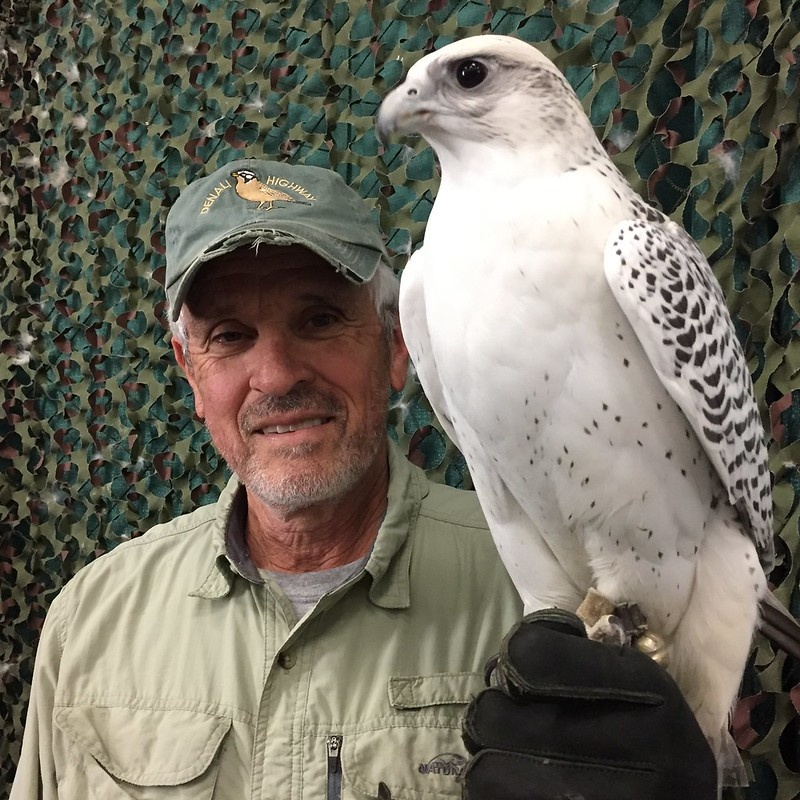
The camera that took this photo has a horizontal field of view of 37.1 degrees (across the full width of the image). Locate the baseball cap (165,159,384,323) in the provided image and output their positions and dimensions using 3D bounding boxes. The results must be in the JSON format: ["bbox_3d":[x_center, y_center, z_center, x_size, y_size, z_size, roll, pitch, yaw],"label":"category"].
[{"bbox_3d":[-0.258,-0.334,2.207,0.386,0.261,0.480,-4,0,-26],"label":"baseball cap"}]
